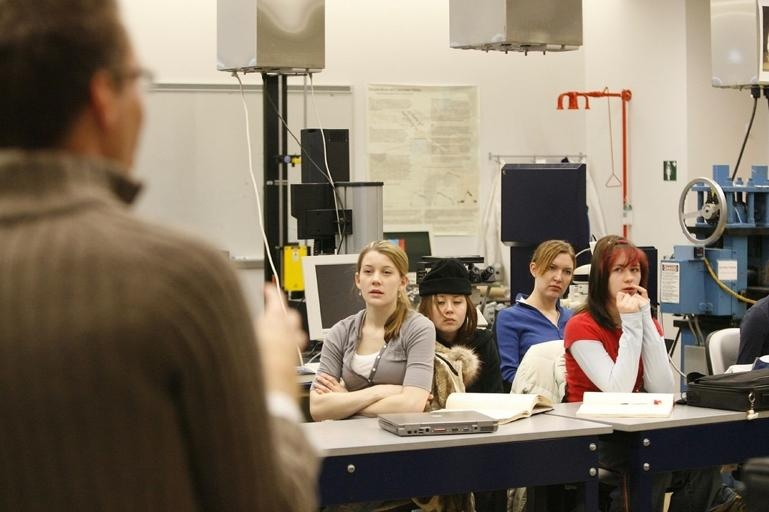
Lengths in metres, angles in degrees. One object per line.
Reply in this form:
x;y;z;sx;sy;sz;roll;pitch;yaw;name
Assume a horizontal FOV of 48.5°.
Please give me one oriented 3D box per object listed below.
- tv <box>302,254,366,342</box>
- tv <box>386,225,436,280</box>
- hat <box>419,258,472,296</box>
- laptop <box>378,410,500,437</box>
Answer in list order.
-0.220;0.185;3.838;0.344;0.365;0.122;-5;-1;-43;tv
0.157;-0.024;4.786;0.306;0.323;0.112;1;-9;-21;tv
0.255;0.102;3.611;0.157;0.121;0.166;1;-5;-12;hat
0.164;0.510;2.630;0.346;0.066;0.210;3;-4;-8;laptop
